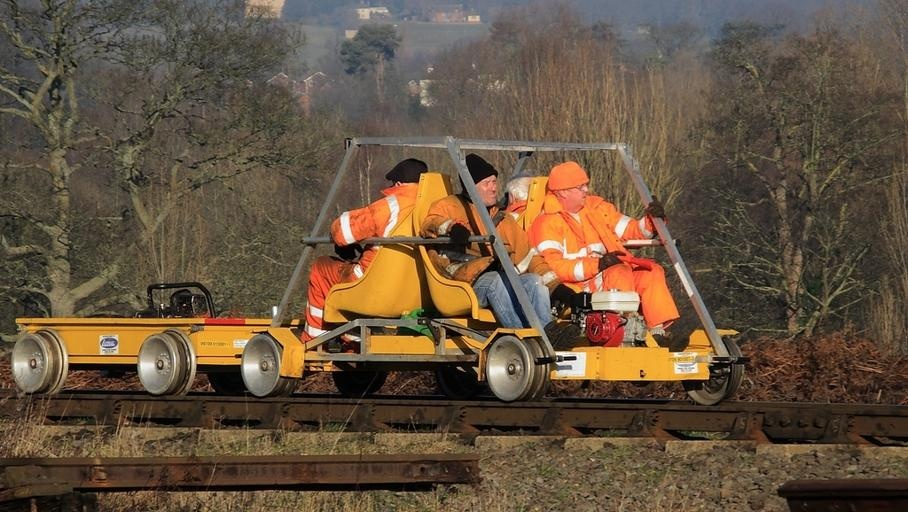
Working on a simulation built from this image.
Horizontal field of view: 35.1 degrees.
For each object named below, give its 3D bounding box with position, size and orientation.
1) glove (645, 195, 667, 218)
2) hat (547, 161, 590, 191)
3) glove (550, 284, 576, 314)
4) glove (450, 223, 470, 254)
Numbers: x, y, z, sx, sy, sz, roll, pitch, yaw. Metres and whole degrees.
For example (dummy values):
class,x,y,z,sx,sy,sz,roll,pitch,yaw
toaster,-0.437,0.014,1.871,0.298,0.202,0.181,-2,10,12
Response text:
class,x,y,z,sx,sy,sz,roll,pitch,yaw
glove,4.910,-1.176,35.067,0.335,0.243,0.580,18,36,-5
hat,2.826,-1.936,35.465,0.852,0.451,0.648,-9,7,3
glove,2.659,1.072,34.403,0.534,0.348,0.745,-3,19,-46
glove,0.235,-0.418,33.864,0.411,0.578,0.179,-11,1,29
